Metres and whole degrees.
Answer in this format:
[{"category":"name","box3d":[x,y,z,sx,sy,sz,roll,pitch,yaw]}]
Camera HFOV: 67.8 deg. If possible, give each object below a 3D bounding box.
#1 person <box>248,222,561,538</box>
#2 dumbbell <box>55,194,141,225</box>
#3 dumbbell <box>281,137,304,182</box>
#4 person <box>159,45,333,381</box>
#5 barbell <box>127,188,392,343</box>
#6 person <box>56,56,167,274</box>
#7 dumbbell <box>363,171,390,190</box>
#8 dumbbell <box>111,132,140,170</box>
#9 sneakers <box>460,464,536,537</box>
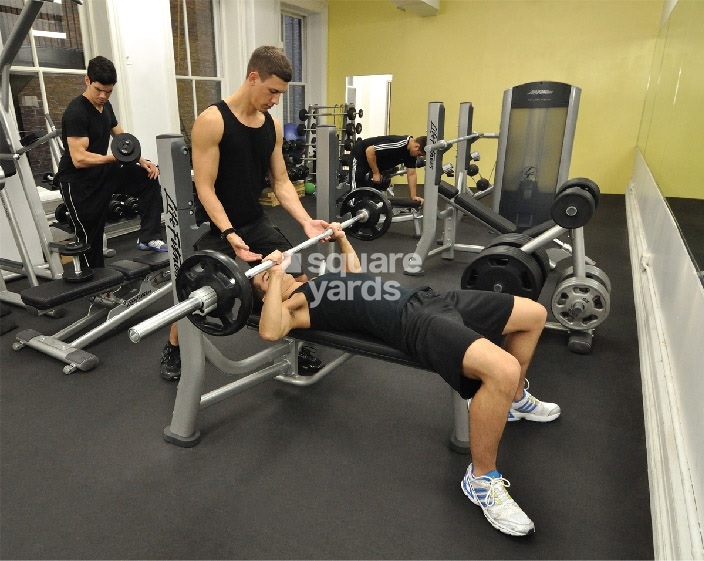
[{"category":"person","box3d":[0.165,0.280,2.076,1.120,0.667,0.766,9,18,25]},{"category":"dumbbell","box3d":[-1.582,-0.461,3.316,0.355,0.195,0.492,9,18,23]},{"category":"dumbbell","box3d":[-0.623,-1.302,5.648,0.126,0.455,0.450,-7,-6,18]},{"category":"person","box3d":[-0.582,-0.124,2.570,0.633,1.791,0.567,-1,19,-33]},{"category":"barbell","box3d":[-0.436,-0.067,2.315,0.321,0.335,1.512,-38,-2,42]},{"category":"person","box3d":[-1.446,-0.670,3.272,0.539,1.744,0.455,3,6,21]},{"category":"dumbbell","box3d":[0.221,-0.879,4.663,0.192,0.097,0.143,18,24,28]},{"category":"dumbbell","box3d":[-1.321,-0.767,3.059,0.137,0.175,0.094,-7,24,-17]},{"category":"sneakers","box3d":[0.495,0.766,1.794,0.142,0.116,0.349,-13,24,-34]}]
